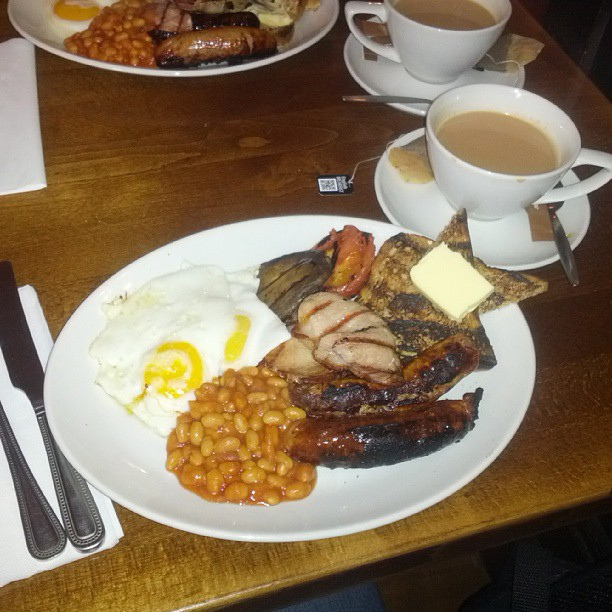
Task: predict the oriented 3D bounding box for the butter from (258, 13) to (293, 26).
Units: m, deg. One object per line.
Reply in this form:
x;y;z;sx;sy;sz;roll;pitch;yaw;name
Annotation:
-0.115;-1.091;2.218;0.116;0.024;0.052;6;96;5;butter

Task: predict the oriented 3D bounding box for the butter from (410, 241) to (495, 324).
0.373;-0.061;1.524;0.185;0.062;0.220;-44;72;-4;butter

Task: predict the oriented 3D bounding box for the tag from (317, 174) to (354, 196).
0.095;-0.389;1.861;0.114;0.015;0.090;-2;57;-2;tag

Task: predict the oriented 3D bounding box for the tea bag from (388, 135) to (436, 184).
0.320;-0.450;1.823;0.182;0.043;0.139;-10;73;-17;tea bag
